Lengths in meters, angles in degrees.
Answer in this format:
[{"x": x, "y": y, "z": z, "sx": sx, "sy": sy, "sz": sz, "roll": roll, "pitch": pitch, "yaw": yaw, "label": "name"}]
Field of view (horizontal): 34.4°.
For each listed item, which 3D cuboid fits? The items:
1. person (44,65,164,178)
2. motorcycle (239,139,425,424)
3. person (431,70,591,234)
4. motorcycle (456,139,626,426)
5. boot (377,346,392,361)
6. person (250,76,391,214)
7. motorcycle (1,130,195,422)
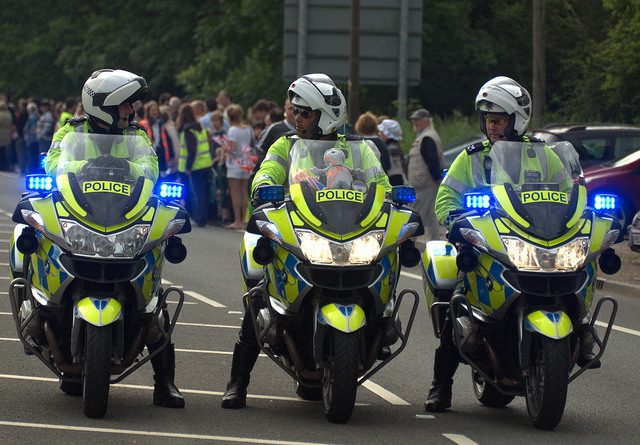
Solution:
[{"x": -1.959, "y": -0.844, "z": 9.293, "sx": 1.039, "sy": 1.105, "sz": 0.678, "roll": -3, "pitch": 6, "yaw": -38, "label": "person"}, {"x": 0.099, "y": 0.511, "z": 8.845, "sx": 1.446, "sy": 2.358, "sz": 0.931, "roll": 2, "pitch": 8, "yaw": 2, "label": "motorcycle"}, {"x": 1.680, "y": -0.469, "z": 9.166, "sx": 1.463, "sy": 1.745, "sz": 0.927, "roll": -3, "pitch": 22, "yaw": 21, "label": "person"}, {"x": 1.826, "y": 0.502, "z": 8.870, "sx": 1.256, "sy": 2.318, "sz": 0.971, "roll": 5, "pitch": 9, "yaw": 23, "label": "motorcycle"}, {"x": 0.562, "y": 1.146, "z": 8.975, "sx": 0.092, "sy": 0.123, "sz": 0.126, "roll": -1, "pitch": -2, "yaw": 1, "label": "boot"}, {"x": -0.012, "y": -0.370, "z": 9.208, "sx": 1.197, "sy": 1.779, "sz": 0.782, "roll": -3, "pitch": -9, "yaw": -5, "label": "person"}, {"x": -1.895, "y": 0.460, "z": 8.873, "sx": 1.479, "sy": 2.370, "sz": 1.054, "roll": 0, "pitch": 8, "yaw": -11, "label": "motorcycle"}]
